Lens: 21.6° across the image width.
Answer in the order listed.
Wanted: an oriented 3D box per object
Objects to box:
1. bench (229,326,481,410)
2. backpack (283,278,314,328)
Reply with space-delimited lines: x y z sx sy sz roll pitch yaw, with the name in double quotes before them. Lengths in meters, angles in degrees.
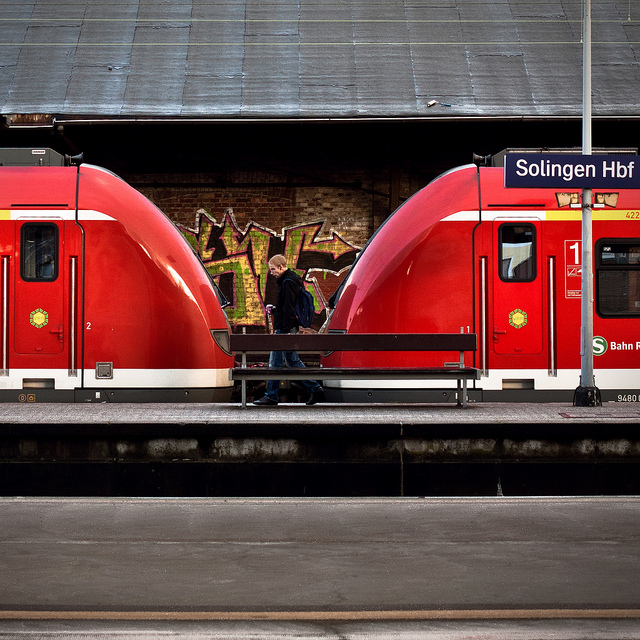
"bench" 0.352 0.684 20.461 2.985 0.979 0.625 0 1 5
"backpack" -0.196 -0.132 21.190 0.574 0.613 0.384 2 -4 -2
